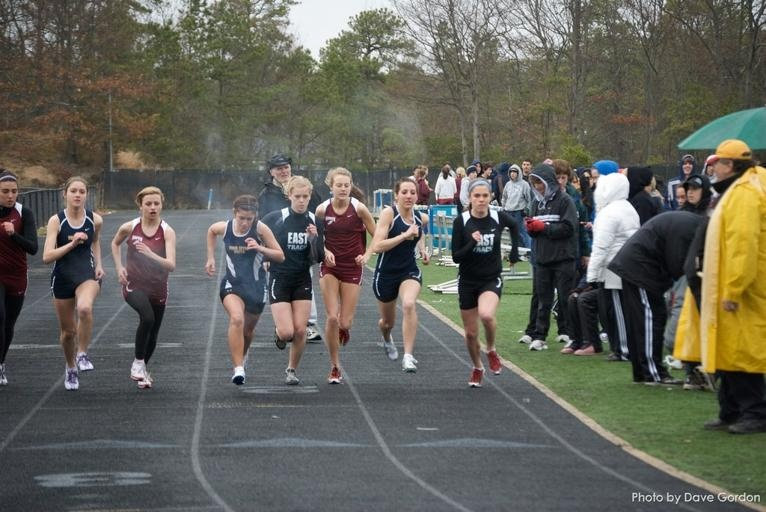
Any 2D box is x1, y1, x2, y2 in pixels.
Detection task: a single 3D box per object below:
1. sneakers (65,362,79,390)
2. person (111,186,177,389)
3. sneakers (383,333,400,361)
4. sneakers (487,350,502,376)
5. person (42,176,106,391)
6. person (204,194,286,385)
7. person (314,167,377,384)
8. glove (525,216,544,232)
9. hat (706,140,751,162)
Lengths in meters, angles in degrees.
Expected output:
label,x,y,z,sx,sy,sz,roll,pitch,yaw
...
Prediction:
label,x,y,z,sx,sy,sz,roll,pitch,yaw
sneakers,-3.965,1.549,10.847,0.152,0.267,0.214,-4,10,-26
person,-3.063,0.407,10.964,0.759,2.551,0.924,-2,10,-17
sneakers,0.145,1.281,11.995,0.176,0.423,0.178,-17,6,-13
sneakers,1.456,1.388,11.148,0.181,0.176,0.444,-13,45,11
person,-3.984,0.461,11.033,0.676,2.359,0.903,-1,9,-8
person,-1.781,0.457,10.959,0.927,2.473,0.928,-1,9,-11
person,-0.522,0.249,11.428,0.756,2.827,1.533,0,9,-4
glove,2.273,-0.470,12.843,0.251,0.194,0.180,-6,29,1
hat,3.840,-1.144,9.456,0.388,0.184,0.284,4,10,38
